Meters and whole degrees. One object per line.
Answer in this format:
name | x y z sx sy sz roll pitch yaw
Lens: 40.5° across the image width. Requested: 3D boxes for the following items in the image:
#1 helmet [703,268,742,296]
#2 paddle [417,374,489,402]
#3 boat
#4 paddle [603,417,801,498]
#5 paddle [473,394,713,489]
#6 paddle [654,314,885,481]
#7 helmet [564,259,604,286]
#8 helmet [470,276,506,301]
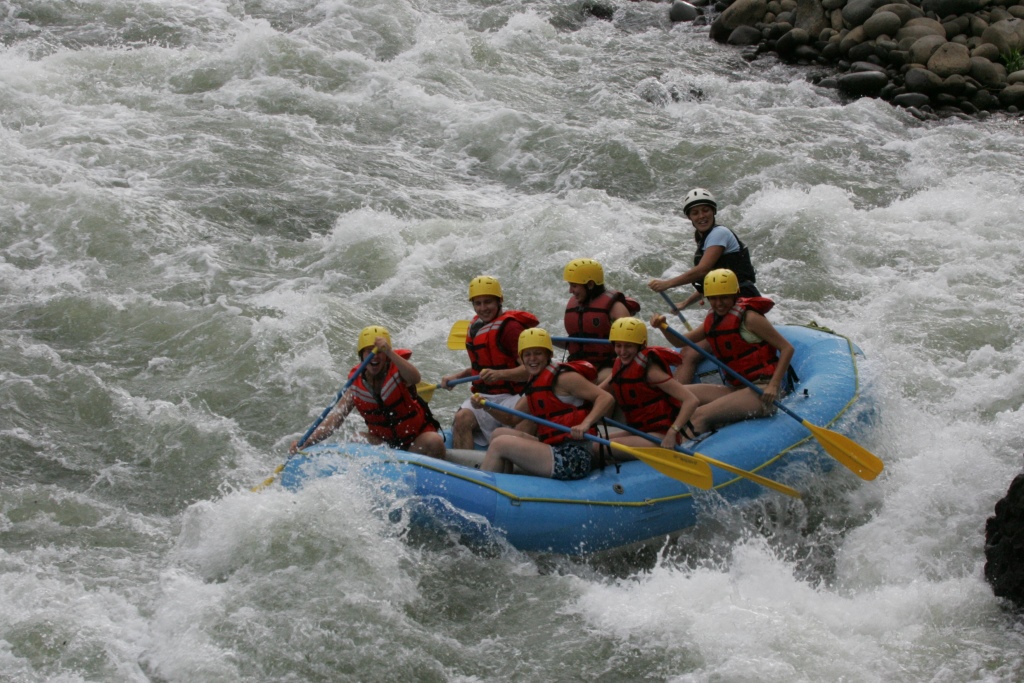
helmet | 2.242 -0.647 14.883 0.284 0.233 0.320 -2 37 24
paddle | -0.639 0.457 14.865 0.718 0.051 0.223 -13 80 14
boat | 1.495 1.268 14.308 4.668 0.923 2.343 -16 37 -13
paddle | 1.928 1.217 14.259 2.009 0.123 0.171 21 74 2
paddle | 0.874 1.040 14.244 3.248 0.208 0.369 13 78 13
paddle | 2.667 0.651 14.699 3.104 0.252 0.391 33 101 16
helmet | 0.768 -0.778 15.134 0.401 0.287 0.352 -8 75 2
helmet | -0.291 -0.571 15.001 0.315 0.338 0.238 -1 55 3
